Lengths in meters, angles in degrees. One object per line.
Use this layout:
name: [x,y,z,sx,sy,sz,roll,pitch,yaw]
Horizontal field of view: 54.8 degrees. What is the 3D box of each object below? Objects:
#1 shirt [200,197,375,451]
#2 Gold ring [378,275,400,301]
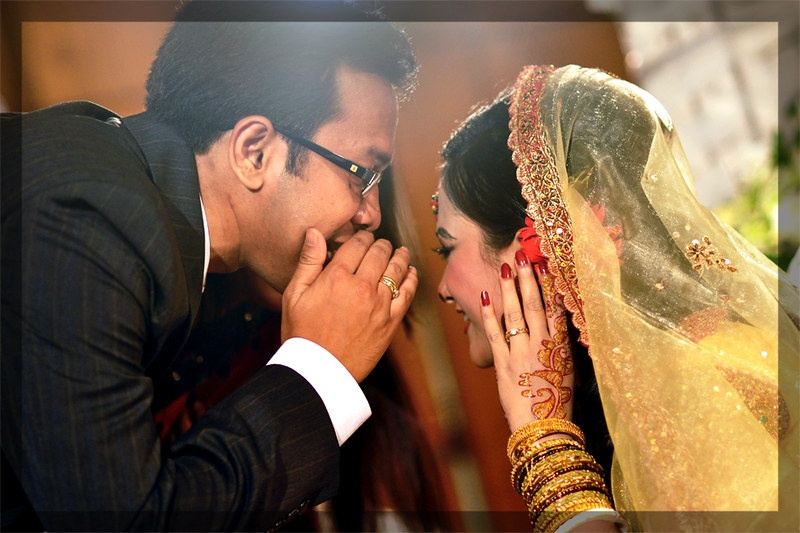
shirt: [-0.254,0.147,1.920,0.612,0.598,0.243,-3,-1,5]
Gold ring: [-0.028,0.061,2.210,0.024,0.060,0.053,-38,3,-4]
